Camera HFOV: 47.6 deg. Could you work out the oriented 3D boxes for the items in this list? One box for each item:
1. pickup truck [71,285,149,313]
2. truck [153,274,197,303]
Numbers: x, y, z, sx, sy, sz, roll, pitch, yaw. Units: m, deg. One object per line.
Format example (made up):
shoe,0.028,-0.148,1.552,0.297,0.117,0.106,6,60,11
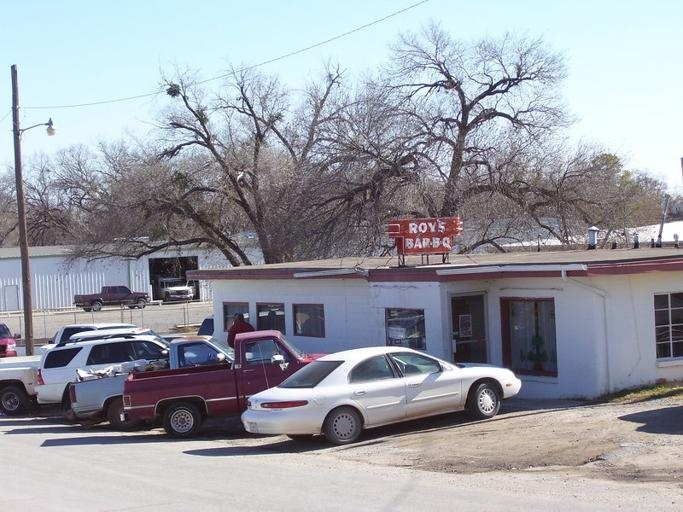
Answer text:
pickup truck,-16.195,3.031,53.388,3.733,1.235,1.638,-3,3,-23
truck,-13.025,2.458,58.748,2.417,1.732,4.098,0,-7,-28
